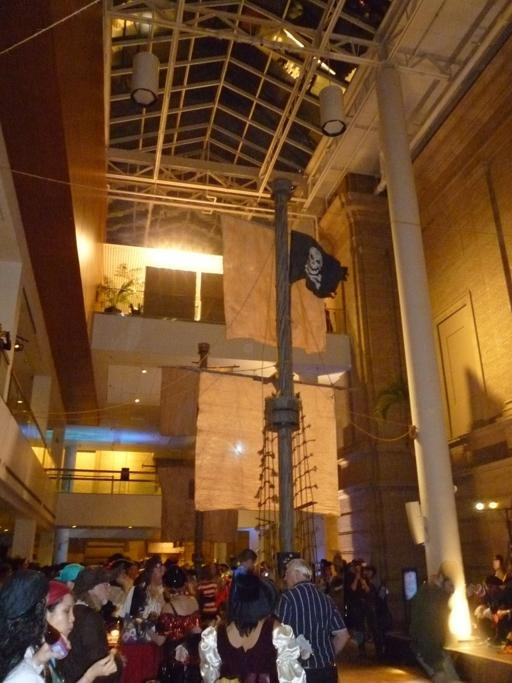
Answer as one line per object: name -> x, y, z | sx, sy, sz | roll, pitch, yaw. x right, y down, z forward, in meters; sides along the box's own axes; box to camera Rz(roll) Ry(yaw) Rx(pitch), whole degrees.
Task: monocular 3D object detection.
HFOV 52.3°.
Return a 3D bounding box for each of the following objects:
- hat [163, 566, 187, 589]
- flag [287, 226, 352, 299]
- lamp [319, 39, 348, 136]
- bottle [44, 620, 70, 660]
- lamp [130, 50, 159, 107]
hat -> -0.653, 1.903, 4.178 | 0.175, 0.182, 0.260 | 3, -22, -9
flag -> 0.876, -0.945, 7.367 | 0.862, 0.320, 1.415 | -25, 11, 5
lamp -> 1.588, -5.029, 11.004 | 0.497, 1.426, 0.652 | -4, -23, 8
bottle -> -0.590, 0.891, 1.541 | 0.069, 0.090, 0.190 | 7, -23, -18
lamp -> -2.122, -5.146, 10.049 | 0.498, 1.232, 0.421 | 8, -24, -19
